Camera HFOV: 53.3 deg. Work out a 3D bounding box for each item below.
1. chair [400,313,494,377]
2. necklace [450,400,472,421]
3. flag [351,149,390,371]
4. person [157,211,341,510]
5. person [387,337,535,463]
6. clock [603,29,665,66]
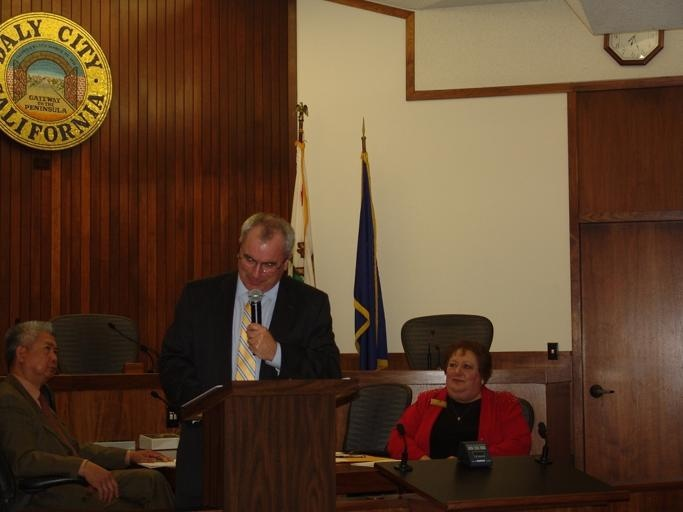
[{"bbox_3d":[0.842,0.640,5.365,0.510,0.745,0.490,0,-7,2],"label":"chair"},{"bbox_3d":[0.701,0.915,4.010,0.078,0.128,0.036,-2,-18,13],"label":"necklace"},{"bbox_3d":[0.249,0.011,5.902,0.263,1.906,0.472,0,-2,-6],"label":"flag"},{"bbox_3d":[-0.364,0.419,2.799,0.761,1.216,0.628,1,-2,-13],"label":"person"},{"bbox_3d":[0.722,1.000,4.158,0.857,0.826,0.603,-4,-22,22],"label":"person"},{"bbox_3d":[2.704,-2.001,6.297,0.512,0.628,0.044,5,-26,23],"label":"clock"}]
